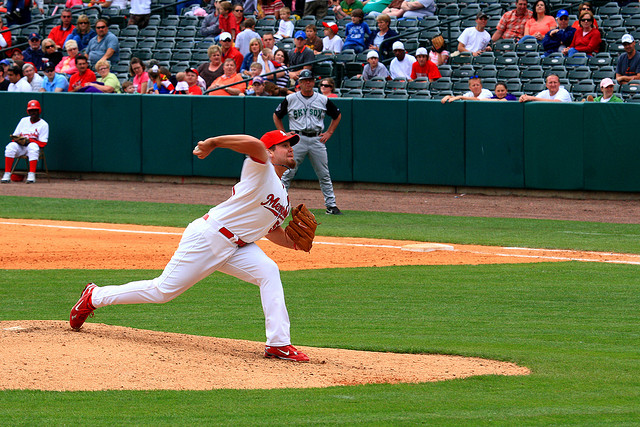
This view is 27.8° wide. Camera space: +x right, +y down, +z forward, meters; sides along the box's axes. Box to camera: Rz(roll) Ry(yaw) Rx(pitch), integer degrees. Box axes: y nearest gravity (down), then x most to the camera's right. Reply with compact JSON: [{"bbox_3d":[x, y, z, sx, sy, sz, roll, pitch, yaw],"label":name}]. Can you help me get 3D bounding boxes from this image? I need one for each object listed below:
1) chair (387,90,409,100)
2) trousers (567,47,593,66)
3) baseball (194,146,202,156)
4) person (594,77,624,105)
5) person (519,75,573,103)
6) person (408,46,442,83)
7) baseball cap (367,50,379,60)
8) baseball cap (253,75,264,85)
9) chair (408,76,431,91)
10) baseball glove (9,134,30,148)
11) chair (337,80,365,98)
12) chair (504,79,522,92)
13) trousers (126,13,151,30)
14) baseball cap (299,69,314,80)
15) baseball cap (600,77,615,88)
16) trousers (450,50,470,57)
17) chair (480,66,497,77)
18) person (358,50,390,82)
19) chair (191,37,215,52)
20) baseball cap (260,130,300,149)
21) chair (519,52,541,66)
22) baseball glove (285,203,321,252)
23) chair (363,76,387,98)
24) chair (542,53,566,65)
[{"bbox_3d":[1.663,-2.521,26.966,0.480,0.159,0.210,2,5,15],"label":"chair"},{"bbox_3d":[5.400,-3.260,26.670,0.478,0.442,0.424,5,7,41],"label":"trousers"},{"bbox_3d":[-1.588,-0.852,16.964,0.097,0.099,0.041,5,2,11],"label":"baseball"},{"bbox_3d":[5.624,-2.397,25.354,0.399,0.623,0.398,11,11,39],"label":"person"},{"bbox_3d":[4.494,-2.490,25.644,0.994,0.729,0.519,-2,3,3],"label":"person"},{"bbox_3d":[2.196,-3.136,27.176,0.725,0.697,0.717,1,5,9],"label":"person"},{"bbox_3d":[1.149,-3.374,27.317,0.217,0.161,0.231,0,5,-4],"label":"baseball cap"},{"bbox_3d":[-1.286,-2.852,27.382,0.225,0.166,0.365,0,5,-3],"label":"baseball cap"},{"bbox_3d":[2.122,-2.776,27.150,0.391,0.384,0.321,1,26,6],"label":"chair"},{"bbox_3d":[-6.458,-1.602,27.968,0.370,0.160,0.240,24,-9,-2],"label":"baseball glove"},{"bbox_3d":[0.676,-2.691,27.672,0.542,0.535,0.495,3,10,14],"label":"chair"},{"bbox_3d":[4.004,-2.663,26.709,0.379,0.315,0.296,0,13,6],"label":"chair"},{"bbox_3d":[-4.411,-4.737,31.710,0.537,0.545,0.356,1,25,-25],"label":"trousers"},{"bbox_3d":[-0.226,-2.604,23.947,0.255,0.188,0.537,1,5,-1],"label":"baseball cap"},{"bbox_3d":[5.613,-2.564,25.204,0.228,0.173,0.218,2,5,14],"label":"baseball cap"},{"bbox_3d":[3.011,-3.470,28.014,0.223,0.086,0.263,6,18,-21],"label":"trousers"},{"bbox_3d":[3.565,-2.982,27.043,0.270,0.264,0.258,1,10,19],"label":"chair"},{"bbox_3d":[1.133,-3.084,27.596,0.595,0.675,0.904,-1,17,13],"label":"person"},{"bbox_3d":[-2.652,-3.976,30.129,0.474,0.327,0.448,3,11,15],"label":"chair"},{"bbox_3d":[-0.539,-1.026,17.477,0.470,0.175,0.261,-9,2,10],"label":"baseball cap"},{"bbox_3d":[4.385,-3.239,26.908,0.370,0.249,0.335,0,-1,28],"label":"chair"},{"bbox_3d":[-0.260,0.188,17.788,0.421,0.639,0.225,1,6,-1],"label":"baseball glove"},{"bbox_3d":[1.192,-2.702,27.412,0.535,0.547,0.546,1,4,20],"label":"chair"},{"bbox_3d":[4.893,-3.224,26.746,0.358,0.169,0.319,0,3,13],"label":"chair"}]
